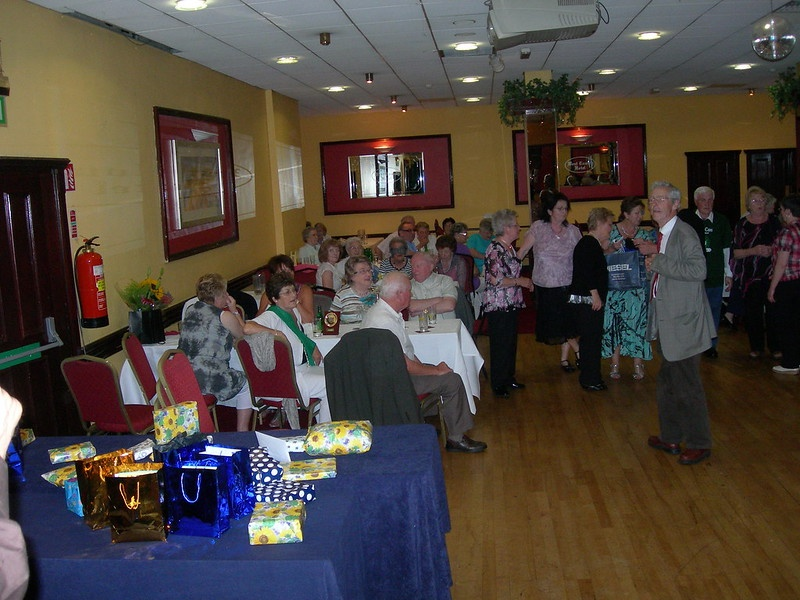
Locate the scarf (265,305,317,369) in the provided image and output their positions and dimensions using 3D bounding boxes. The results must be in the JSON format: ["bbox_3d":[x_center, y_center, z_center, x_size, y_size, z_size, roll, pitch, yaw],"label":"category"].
[{"bbox_3d":[-0.859,0.355,5.427,0.224,0.426,0.306,0,26,-4],"label":"scarf"}]

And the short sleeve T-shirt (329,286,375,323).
[{"bbox_3d":[-0.416,0.026,6.156,0.542,0.422,0.294,-5,12,-23],"label":"short sleeve T-shirt"}]

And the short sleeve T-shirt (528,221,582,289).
[{"bbox_3d":[1.591,-0.462,6.356,0.620,0.662,0.352,1,9,9],"label":"short sleeve T-shirt"}]

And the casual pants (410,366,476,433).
[{"bbox_3d":[0.305,0.843,4.934,0.445,0.589,0.490,-14,5,3],"label":"casual pants"}]

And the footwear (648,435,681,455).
[{"bbox_3d":[2.064,1.146,4.898,0.085,0.103,0.232,-12,19,-39],"label":"footwear"}]

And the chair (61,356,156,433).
[{"bbox_3d":[-2.209,0.702,4.727,0.570,0.710,0.524,-8,11,-23],"label":"chair"}]

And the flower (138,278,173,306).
[{"bbox_3d":[-2.333,-0.063,5.857,0.274,0.283,0.119,13,-34,-36],"label":"flower"}]

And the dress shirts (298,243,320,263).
[{"bbox_3d":[-1.366,-0.713,9.437,0.397,0.446,0.233,-2,2,-13],"label":"dress shirts"}]

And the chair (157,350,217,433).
[{"bbox_3d":[-1.391,0.672,4.143,0.436,0.659,0.437,0,0,-6],"label":"chair"}]

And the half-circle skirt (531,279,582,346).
[{"bbox_3d":[1.616,0.120,6.685,0.616,0.894,0.527,-6,8,12],"label":"half-circle skirt"}]

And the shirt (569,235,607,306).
[{"bbox_3d":[1.832,-0.288,6.060,0.341,0.691,0.151,-1,10,15],"label":"shirt"}]

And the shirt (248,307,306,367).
[{"bbox_3d":[-0.967,0.265,5.336,0.407,0.590,0.453,2,29,12],"label":"shirt"}]

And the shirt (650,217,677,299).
[{"bbox_3d":[1.972,-0.295,4.609,0.151,0.631,0.047,-6,26,-27],"label":"shirt"}]

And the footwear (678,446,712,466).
[{"bbox_3d":[2.243,1.169,4.712,0.280,0.126,0.106,-2,12,-11],"label":"footwear"}]

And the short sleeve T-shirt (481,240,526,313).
[{"bbox_3d":[1.025,-0.269,6.321,0.455,0.729,0.588,-2,15,15],"label":"short sleeve T-shirt"}]

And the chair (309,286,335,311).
[{"bbox_3d":[-0.808,0.043,6.743,0.272,0.355,0.254,4,22,6],"label":"chair"}]

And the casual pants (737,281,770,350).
[{"bbox_3d":[4.112,0.162,7.254,0.277,0.888,0.214,-6,-2,-10],"label":"casual pants"}]

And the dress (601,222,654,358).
[{"bbox_3d":[2.328,-0.090,6.515,0.511,1.325,0.288,6,10,31],"label":"dress"}]

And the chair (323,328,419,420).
[{"bbox_3d":[-0.194,0.540,4.397,0.543,0.720,0.425,-2,22,14],"label":"chair"}]

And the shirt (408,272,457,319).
[{"bbox_3d":[0.296,0.026,6.373,0.544,0.590,0.344,-1,12,17],"label":"shirt"}]

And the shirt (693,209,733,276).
[{"bbox_3d":[3.741,-0.705,7.209,0.295,0.761,0.571,-24,-7,37],"label":"shirt"}]

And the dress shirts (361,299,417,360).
[{"bbox_3d":[-0.085,0.228,4.653,0.206,0.301,0.369,-12,24,-9],"label":"dress shirts"}]

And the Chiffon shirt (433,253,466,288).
[{"bbox_3d":[0.570,-0.328,7.087,0.376,0.448,0.240,-4,2,12],"label":"Chiffon shirt"}]

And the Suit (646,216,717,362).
[{"bbox_3d":[2.049,-0.068,4.545,0.437,1.033,0.289,1,11,23],"label":"Suit"}]

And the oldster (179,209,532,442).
[{"bbox_3d":[0.192,0.446,5.389,2.389,0.935,2.219,3,18,19],"label":"oldster"}]
